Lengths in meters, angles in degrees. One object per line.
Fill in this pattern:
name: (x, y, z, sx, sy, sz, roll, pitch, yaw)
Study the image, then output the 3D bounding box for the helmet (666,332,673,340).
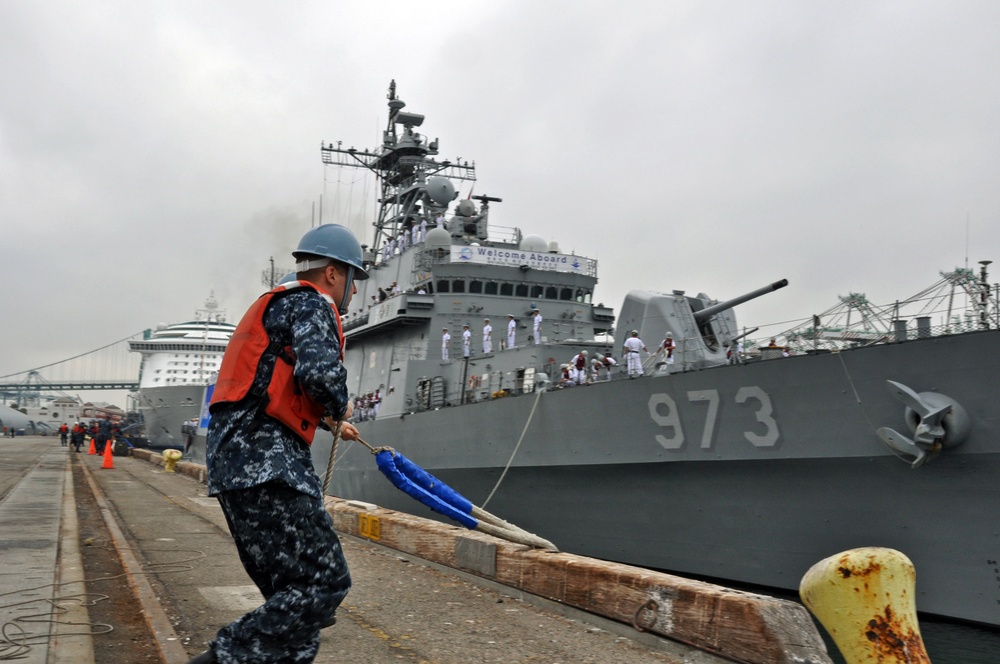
helmet: (2.475, 0.077, 11.608, 0.101, 0.125, 0.120, 11, 9, 34)
